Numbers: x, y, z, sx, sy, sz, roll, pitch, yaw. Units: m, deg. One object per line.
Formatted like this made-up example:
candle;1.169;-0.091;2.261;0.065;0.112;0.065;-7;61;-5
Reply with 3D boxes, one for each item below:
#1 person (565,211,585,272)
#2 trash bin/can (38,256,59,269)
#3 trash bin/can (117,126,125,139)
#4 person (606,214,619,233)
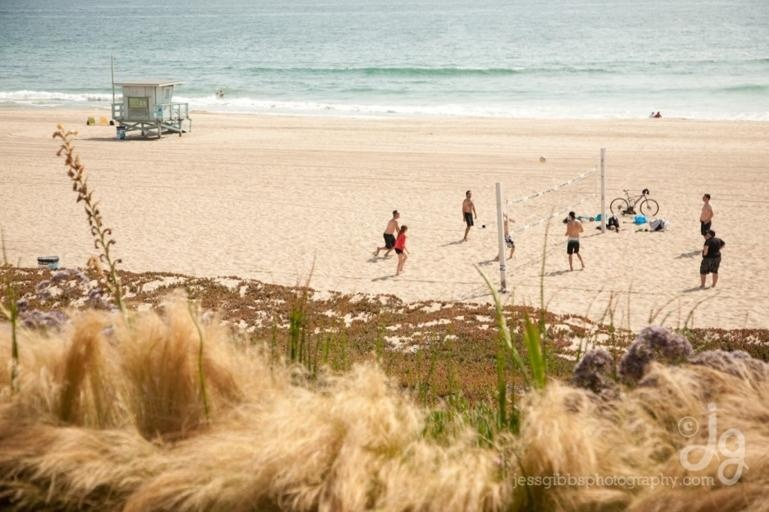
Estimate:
person;8.487;-0.734;45.408;0.913;2.639;1.047;-2;13;-5
trash bin/can;-14.554;0.307;44.016;0.659;0.397;0.645;0;1;-23
trash bin/can;-16.250;-7.540;62.700;0.489;0.757;0.624;-3;13;-10
person;10.803;-1.498;48.507;0.866;1.068;0.394;1;-13;13
